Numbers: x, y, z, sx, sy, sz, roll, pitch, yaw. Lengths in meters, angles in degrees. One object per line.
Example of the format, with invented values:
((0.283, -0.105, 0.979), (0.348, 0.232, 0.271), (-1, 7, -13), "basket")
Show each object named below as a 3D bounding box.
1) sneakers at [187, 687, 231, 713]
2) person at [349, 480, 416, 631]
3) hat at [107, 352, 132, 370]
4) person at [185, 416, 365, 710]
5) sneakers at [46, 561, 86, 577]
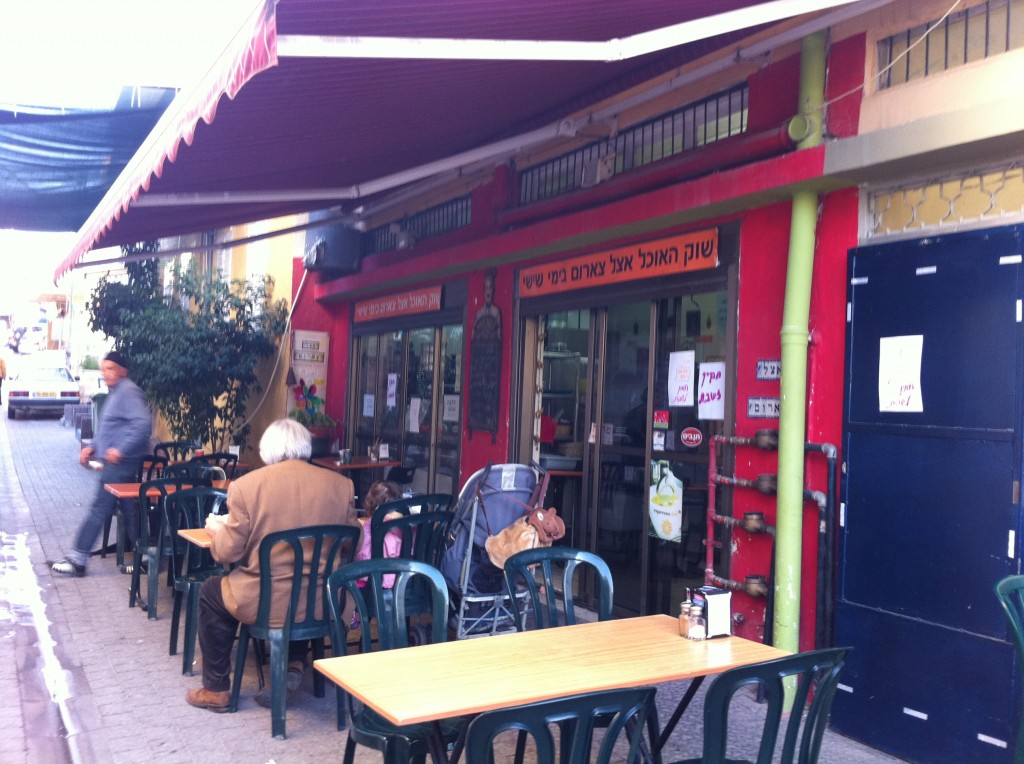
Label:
((-1.990, 2.024, 5.700), (0.301, 0.166, 0.125), (10, 5, 37), "sneakers")
((-0.873, 1.173, 6.566), (0.521, 1.096, 0.740), (-1, 4, -33), "person")
((-3.866, -0.229, 8.529), (0.258, 0.225, 0.278), (0, 6, -22), "hat")
((-1.627, 1.220, 5.802), (0.921, 2.047, 0.876), (3, -1, 30), "person")
((-4.291, 1.780, 8.364), (0.341, 0.173, 0.137), (3, 1, 12), "sneakers")
